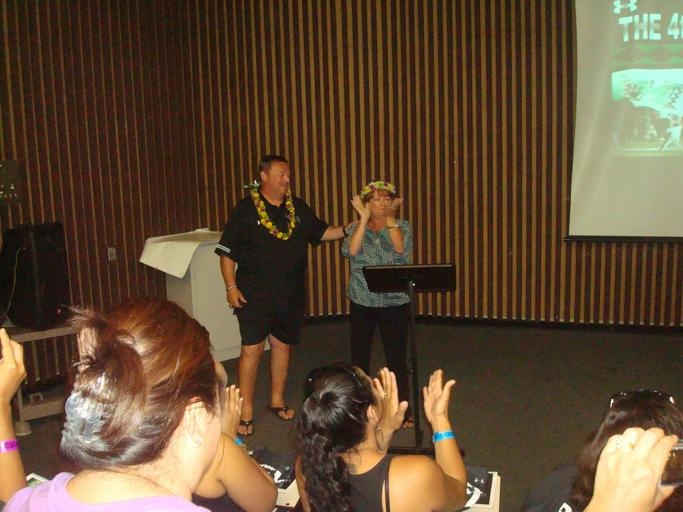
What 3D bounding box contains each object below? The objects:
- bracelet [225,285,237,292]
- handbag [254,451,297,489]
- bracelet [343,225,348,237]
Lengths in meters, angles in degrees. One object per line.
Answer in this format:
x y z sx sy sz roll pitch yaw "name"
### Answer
-0.770 0.214 3.976 0.070 0.051 0.087 -4 12 -11 "bracelet"
-0.274 0.895 2.428 0.119 0.036 0.121 17 8 7 "handbag"
0.035 -0.190 4.110 0.039 0.064 0.021 -2 -1 1 "bracelet"
